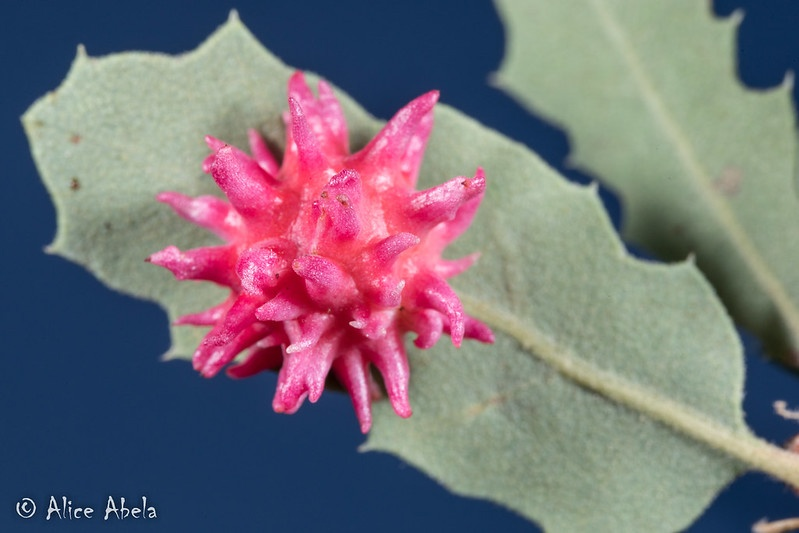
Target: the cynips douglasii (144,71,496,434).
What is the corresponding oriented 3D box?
[{"bbox_3d":[-0.128,-0.020,2.174,0.683,0.342,0.667,-35,86,-4],"label":"cynips douglasii"}]
